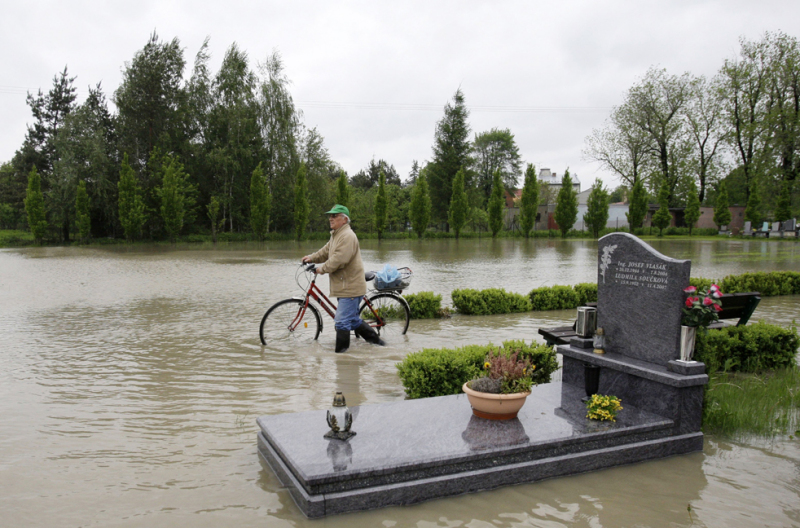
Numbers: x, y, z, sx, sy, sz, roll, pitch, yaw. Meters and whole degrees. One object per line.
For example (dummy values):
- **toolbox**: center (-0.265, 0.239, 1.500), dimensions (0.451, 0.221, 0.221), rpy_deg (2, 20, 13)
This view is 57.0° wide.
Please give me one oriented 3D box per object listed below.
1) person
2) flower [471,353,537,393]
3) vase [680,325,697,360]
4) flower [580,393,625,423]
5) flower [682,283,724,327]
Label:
- **person**: center (-1.051, 0.226, 14.356), dimensions (1.332, 2.830, 1.024), rpy_deg (0, 3, -2)
- **flower**: center (1.695, 1.694, 11.460), dimensions (0.946, 0.663, 0.986), rpy_deg (2, -5, 44)
- **vase**: center (4.420, 1.174, 11.252), dimensions (0.232, 0.521, 0.101), rpy_deg (0, 3, 6)
- **flower**: center (3.109, 2.160, 11.184), dimensions (0.402, 0.314, 0.431), rpy_deg (-2, 5, -15)
- **flower**: center (4.708, 0.597, 11.427), dimensions (0.645, 0.710, 0.607), rpy_deg (0, 2, -15)
